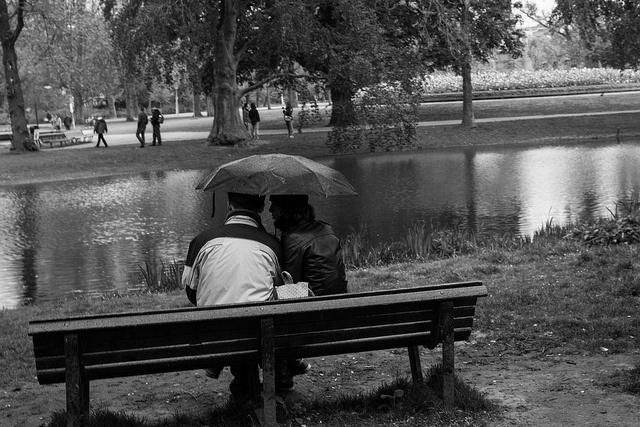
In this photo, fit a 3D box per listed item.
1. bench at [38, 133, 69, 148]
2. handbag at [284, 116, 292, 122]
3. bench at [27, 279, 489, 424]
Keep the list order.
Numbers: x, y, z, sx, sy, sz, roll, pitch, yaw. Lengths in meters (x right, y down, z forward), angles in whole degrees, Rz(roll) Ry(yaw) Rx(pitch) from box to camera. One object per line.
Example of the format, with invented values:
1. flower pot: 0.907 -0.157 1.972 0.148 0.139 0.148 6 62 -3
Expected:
1. bench: -14.872 -4.093 46.157 1.334 0.586 0.619 -5 36 -43
2. handbag: -1.598 -4.845 42.153 0.443 0.236 0.407 -5 4 -26
3. bench: -0.779 1.792 9.985 5.178 1.530 0.287 -4 3 -8
